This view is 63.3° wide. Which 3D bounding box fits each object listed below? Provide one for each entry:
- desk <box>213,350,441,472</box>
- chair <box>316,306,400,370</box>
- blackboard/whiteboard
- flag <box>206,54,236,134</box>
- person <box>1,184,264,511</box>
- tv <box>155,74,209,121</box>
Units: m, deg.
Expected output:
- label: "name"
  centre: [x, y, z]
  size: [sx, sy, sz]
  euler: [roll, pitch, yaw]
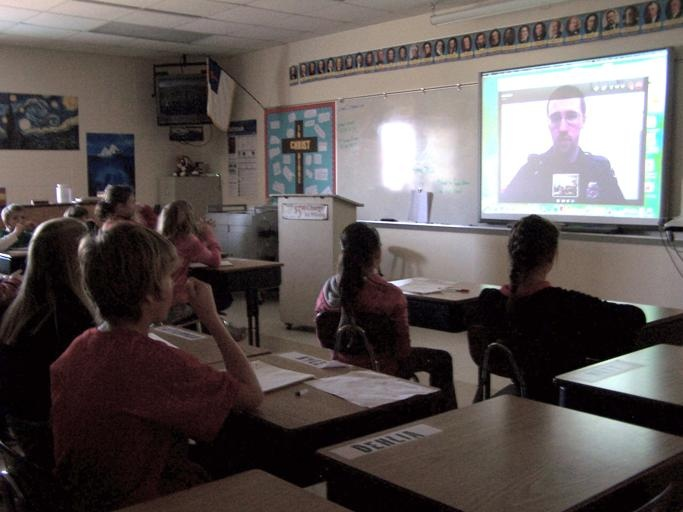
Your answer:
- label: "desk"
  centre: [-0.052, 0.473, 1.681]
  size: [0.382, 0.247, 0.496]
  euler: [-7, 11, -41]
- label: "chair"
  centre: [0.095, 0.386, 2.591]
  size: [0.298, 0.267, 0.166]
  euler: [4, 15, 35]
- label: "blackboard/whiteboard"
  centre: [0.810, -1.115, 6.200]
  size: [1.947, 1.497, 0.139]
  euler: [5, 8, 41]
- label: "flag"
  centre: [-1.762, -2.321, 8.050]
  size: [0.205, 0.950, 0.560]
  euler: [2, 11, 13]
- label: "person"
  centre: [-0.480, 0.271, 1.455]
  size: [0.524, 0.716, 0.304]
  euler: [-6, 12, -29]
- label: "tv"
  centre: [-2.314, -2.293, 8.167]
  size: [0.960, 0.690, 0.275]
  euler: [3, 11, 19]
